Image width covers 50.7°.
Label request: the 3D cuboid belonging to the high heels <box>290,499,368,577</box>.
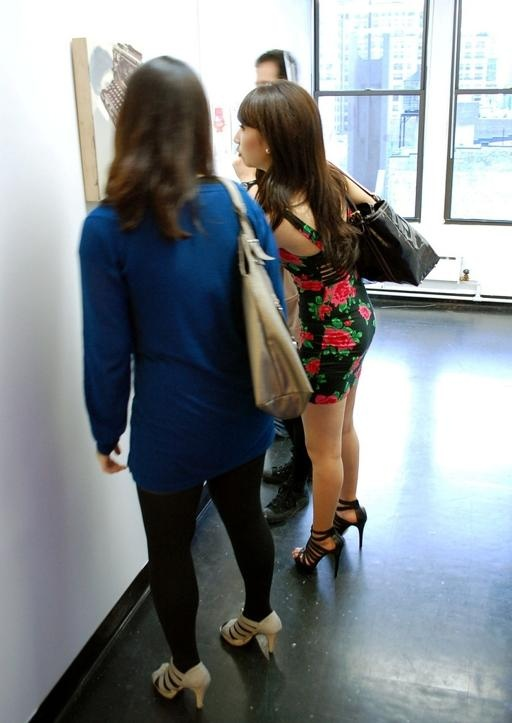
[{"bbox_3d":[0.329,0.631,2.064,0.132,0.214,0.411,4,11,41],"label":"high heels"}]

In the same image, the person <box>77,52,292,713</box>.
[{"bbox_3d":[-0.136,0.212,1.106,0.340,1.440,0.461,-1,12,1],"label":"person"}]

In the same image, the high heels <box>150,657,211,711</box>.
[{"bbox_3d":[-0.195,0.792,1.368,0.150,0.116,0.079,11,12,28],"label":"high heels"}]

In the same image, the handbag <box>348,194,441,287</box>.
[{"bbox_3d":[0.419,-0.354,1.631,0.132,0.244,0.229,-15,24,36],"label":"handbag"}]

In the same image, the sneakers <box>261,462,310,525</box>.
[{"bbox_3d":[0.113,0.571,2.419,0.109,0.215,0.331,10,28,35],"label":"sneakers"}]
